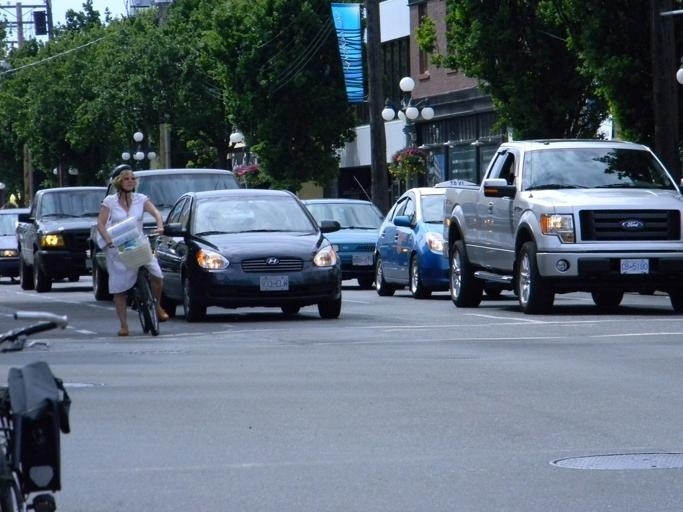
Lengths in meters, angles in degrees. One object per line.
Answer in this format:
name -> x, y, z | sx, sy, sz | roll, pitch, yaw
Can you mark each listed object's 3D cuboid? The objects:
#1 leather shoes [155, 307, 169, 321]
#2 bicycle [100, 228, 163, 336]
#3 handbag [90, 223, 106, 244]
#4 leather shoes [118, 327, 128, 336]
leather shoes -> -2.223, 0.764, 14.980 | 0.166, 0.142, 0.282 | 6, 14, -17
bicycle -> -2.622, 0.269, 15.515 | 0.751, 1.179, 1.794 | -7, 12, -16
handbag -> -3.550, -0.289, 17.571 | 0.255, 0.129, 0.460 | 13, 16, -24
leather shoes -> -2.663, 0.948, 14.753 | 0.084, 0.074, 0.148 | -4, -3, -4
